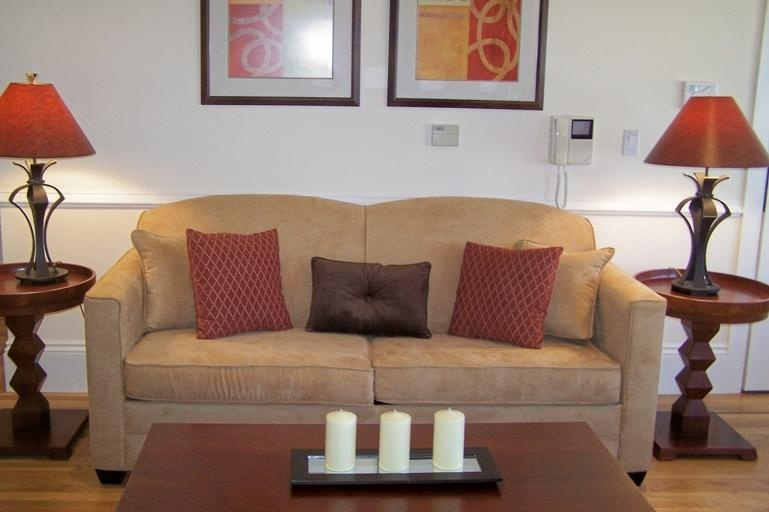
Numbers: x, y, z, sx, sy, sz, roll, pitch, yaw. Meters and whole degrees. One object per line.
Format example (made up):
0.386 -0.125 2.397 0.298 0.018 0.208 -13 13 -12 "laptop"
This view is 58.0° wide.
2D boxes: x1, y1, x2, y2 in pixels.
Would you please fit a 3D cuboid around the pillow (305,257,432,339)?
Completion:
-0.089 0.237 3.683 0.745 0.394 0.188 0 -5 1 "pillow"

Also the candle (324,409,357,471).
-0.168 0.704 2.662 0.122 0.230 0.108 -1 13 -5 "candle"

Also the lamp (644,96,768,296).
1.735 -0.337 3.761 0.496 1.059 0.459 -7 15 -28 "lamp"

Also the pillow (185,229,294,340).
-0.759 0.143 3.585 0.623 0.528 0.180 -5 -8 -36 "pillow"

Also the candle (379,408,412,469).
0.038 0.706 2.667 0.121 0.231 0.106 0 13 -2 "candle"

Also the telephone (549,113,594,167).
1.122 -0.711 4.171 0.352 0.344 0.128 0 7 -6 "telephone"

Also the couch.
-0.079 0.368 3.784 2.923 1.101 1.032 0 25 -4 "couch"

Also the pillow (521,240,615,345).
0.948 0.214 3.595 0.498 0.401 0.232 7 17 21 "pillow"

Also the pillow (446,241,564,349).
0.625 0.201 3.594 0.610 0.510 0.181 9 -7 35 "pillow"
